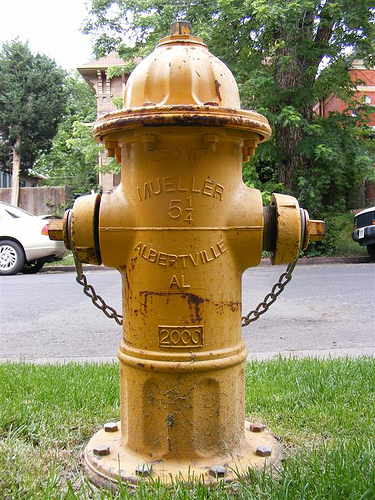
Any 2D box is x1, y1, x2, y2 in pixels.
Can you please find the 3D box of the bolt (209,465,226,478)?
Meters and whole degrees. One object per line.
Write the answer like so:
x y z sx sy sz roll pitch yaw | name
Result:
0.135 1.022 3.868 0.071 0.038 0.097 -3 4 -27 | bolt

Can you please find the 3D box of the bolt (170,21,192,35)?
-0.034 -1.092 4.174 0.081 0.057 0.079 -7 15 -32 | bolt

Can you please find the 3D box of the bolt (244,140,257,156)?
0.298 -0.504 4.169 0.068 0.072 0.067 5 13 29 | bolt

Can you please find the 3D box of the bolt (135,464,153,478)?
-0.212 1.019 3.875 0.055 0.026 0.054 6 -7 -44 | bolt

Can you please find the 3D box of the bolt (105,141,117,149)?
-0.375 -0.509 4.116 0.038 0.034 0.038 5 6 32 | bolt

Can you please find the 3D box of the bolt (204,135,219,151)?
0.113 -0.494 3.928 0.079 0.071 0.063 -2 4 -11 | bolt

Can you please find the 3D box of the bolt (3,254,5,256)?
-2.857 0.082 13.049 0.023 0.029 0.025 3 -6 -35 | bolt

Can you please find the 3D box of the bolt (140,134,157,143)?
-0.187 -0.514 3.923 0.086 0.038 0.062 -1 4 9 | bolt

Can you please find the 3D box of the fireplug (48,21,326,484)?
-0.012 -0.031 4.022 1.163 2.155 0.632 -2 5 -9 | fireplug
